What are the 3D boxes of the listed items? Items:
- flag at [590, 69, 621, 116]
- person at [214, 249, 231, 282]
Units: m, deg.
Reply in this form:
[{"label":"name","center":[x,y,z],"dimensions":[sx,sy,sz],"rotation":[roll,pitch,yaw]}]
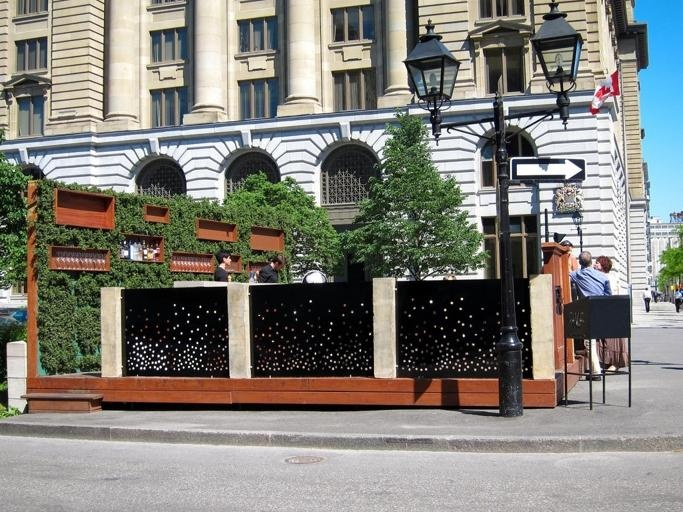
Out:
[{"label":"flag","center":[11.040,-6.785,52.322],"dimensions":[1.165,1.832,1.700],"rotation":[1,10,10]},{"label":"person","center":[-3.267,0.246,33.894],"dimensions":[0.412,0.815,0.800],"rotation":[-3,7,-29]}]
